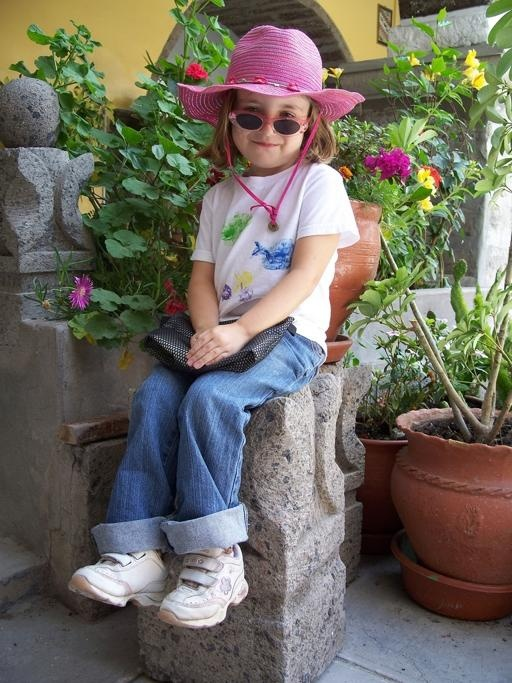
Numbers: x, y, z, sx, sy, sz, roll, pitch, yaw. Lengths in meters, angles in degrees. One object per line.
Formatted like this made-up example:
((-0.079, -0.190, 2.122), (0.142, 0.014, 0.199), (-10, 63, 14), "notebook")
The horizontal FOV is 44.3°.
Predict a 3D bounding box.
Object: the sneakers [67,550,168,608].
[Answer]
((-0.256, 0.425, 1.160), (0.087, 0.094, 0.212), (16, -6, 36), "sneakers")

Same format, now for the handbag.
((-0.086, 0.012, 1.201), (0.182, 0.054, 0.161), (-5, 9, -2), "handbag")

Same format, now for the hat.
((0.047, -0.572, 1.408), (0.333, 0.126, 0.306), (-4, 13, -27), "hat")

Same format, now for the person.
((-0.028, -0.051, 1.300), (0.436, 1.286, 0.723), (2, 7, 12), "person")

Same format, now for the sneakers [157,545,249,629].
((-0.091, 0.416, 1.081), (0.093, 0.117, 0.156), (3, 7, 21), "sneakers")
